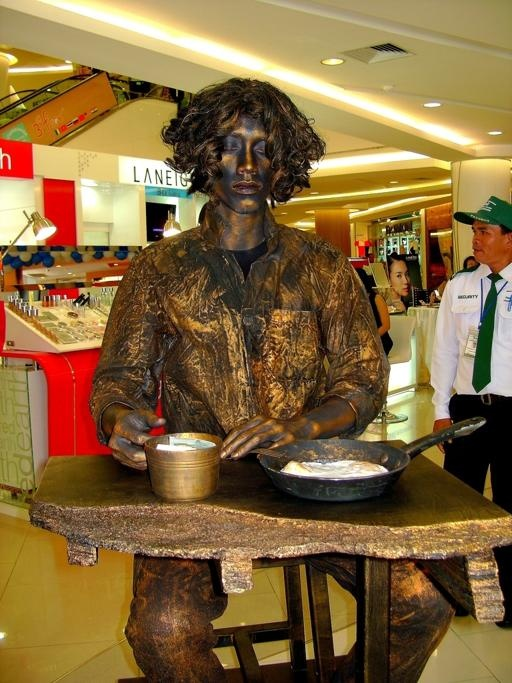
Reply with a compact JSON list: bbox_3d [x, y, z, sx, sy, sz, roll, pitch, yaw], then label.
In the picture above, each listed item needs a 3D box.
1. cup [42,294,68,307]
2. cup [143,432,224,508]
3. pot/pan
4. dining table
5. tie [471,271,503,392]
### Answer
[{"bbox_3d":[-1.787,-0.356,4.784,0.143,0.109,0.175,1,0,-10],"label":"cup"},{"bbox_3d":[-0.103,0.179,0.760,0.096,0.059,0.084,-1,3,-18],"label":"cup"},{"bbox_3d":[0.165,0.149,0.816,0.272,0.035,0.144,-4,2,-27],"label":"pot/pan"},{"bbox_3d":[-0.003,0.251,0.864,0.593,0.495,0.465,0,4,-3],"label":"dining table"},{"bbox_3d":[1.114,-0.060,2.587,0.099,0.071,0.671,3,52,29],"label":"tie"}]
